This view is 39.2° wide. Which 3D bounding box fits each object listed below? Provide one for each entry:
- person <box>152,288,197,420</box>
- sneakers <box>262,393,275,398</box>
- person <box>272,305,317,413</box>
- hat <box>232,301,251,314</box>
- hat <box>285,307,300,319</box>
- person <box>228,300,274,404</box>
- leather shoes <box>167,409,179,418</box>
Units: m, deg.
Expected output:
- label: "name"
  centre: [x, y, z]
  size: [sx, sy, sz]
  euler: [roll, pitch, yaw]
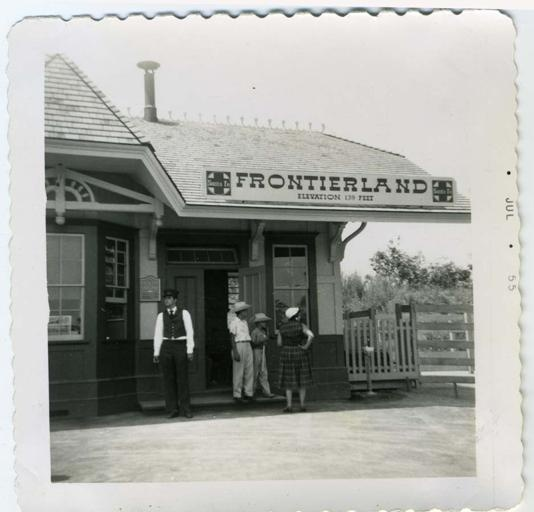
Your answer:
- label: "person"
  centre: [-1.238, 1.289, 9.949]
  size: [0.504, 1.608, 0.911]
  euler: [-1, 13, -9]
- label: "sneakers"
  centre: [0.034, 2.031, 10.928]
  size: [0.145, 0.072, 0.060]
  euler: [-3, -4, 13]
- label: "person"
  centre: [0.348, 1.437, 10.056]
  size: [0.533, 1.446, 0.528]
  euler: [8, 14, 27]
- label: "hat"
  centre: [-0.364, 0.732, 10.893]
  size: [0.163, 0.063, 0.167]
  euler: [-17, 0, -30]
- label: "hat"
  centre: [0.320, 0.736, 10.123]
  size: [0.129, 0.103, 0.181]
  euler: [-23, -20, -18]
- label: "person"
  centre: [-0.232, 1.381, 10.853]
  size: [0.635, 1.343, 0.876]
  euler: [1, 13, -3]
- label: "leather shoes"
  centre: [-1.215, 2.043, 9.713]
  size: [0.137, 0.080, 0.188]
  euler: [0, 15, -7]
